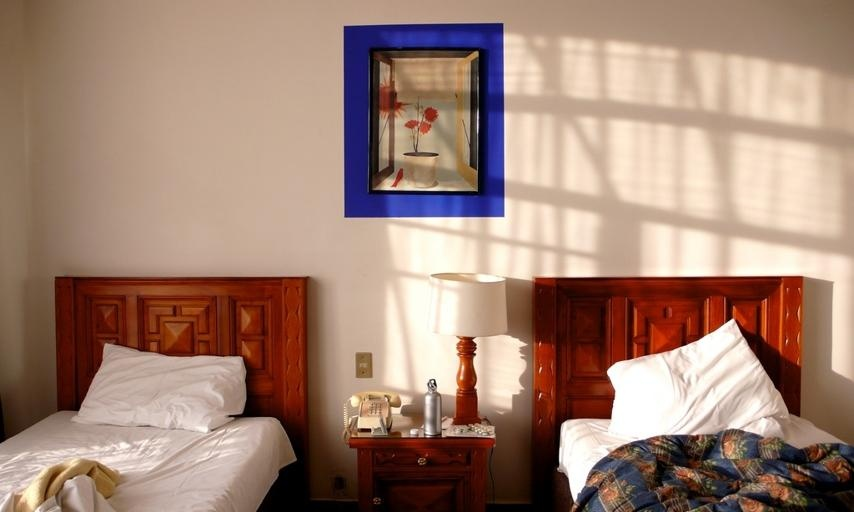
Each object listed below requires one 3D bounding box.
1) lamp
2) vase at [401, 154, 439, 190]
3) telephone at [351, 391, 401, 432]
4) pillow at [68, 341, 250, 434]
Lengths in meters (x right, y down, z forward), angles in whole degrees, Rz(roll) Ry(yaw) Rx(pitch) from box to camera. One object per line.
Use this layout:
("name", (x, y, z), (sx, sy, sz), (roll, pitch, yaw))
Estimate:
("lamp", (0.311, 0.663, 4.785), (0.546, 1.103, 0.382), (-1, -4, 6))
("vase", (-0.037, -0.654, 5.080), (0.306, 0.256, 0.322), (-16, 24, -36))
("telephone", (-0.369, 1.119, 4.800), (0.306, 0.143, 0.265), (0, -2, 1))
("pillow", (-1.918, 0.955, 4.827), (1.128, 0.586, 0.284), (-1, -4, 7))
